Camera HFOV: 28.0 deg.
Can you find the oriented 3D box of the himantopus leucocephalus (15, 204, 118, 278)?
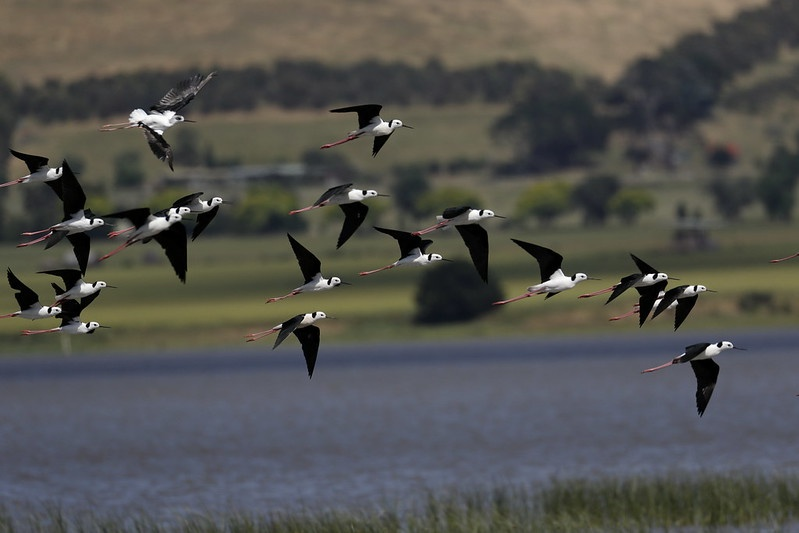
[{"bbox_3d":[-9.053,-1.016,43.111,2.710,0.502,2.855,-8,-9,-39],"label":"himantopus leucocephalus"}]

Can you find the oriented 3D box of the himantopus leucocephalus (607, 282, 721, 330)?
[{"bbox_3d":[7.307,1.043,43.737,2.328,0.740,1.334,7,2,-6],"label":"himantopus leucocephalus"}]

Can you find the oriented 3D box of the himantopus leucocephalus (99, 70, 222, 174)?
[{"bbox_3d":[-6.347,-3.887,43.560,1.833,2.459,2.207,2,14,23],"label":"himantopus leucocephalus"}]

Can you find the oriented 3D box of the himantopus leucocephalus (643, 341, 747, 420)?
[{"bbox_3d":[8.148,3.256,43.655,2.568,0.962,2.750,8,26,-2],"label":"himantopus leucocephalus"}]

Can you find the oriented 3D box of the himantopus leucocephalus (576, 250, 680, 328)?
[{"bbox_3d":[6.126,0.523,43.671,2.891,0.594,2.663,-9,35,-4],"label":"himantopus leucocephalus"}]

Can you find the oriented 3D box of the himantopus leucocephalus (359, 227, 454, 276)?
[{"bbox_3d":[0.025,-0.194,44.343,2.448,2.382,0.674,-10,52,6],"label":"himantopus leucocephalus"}]

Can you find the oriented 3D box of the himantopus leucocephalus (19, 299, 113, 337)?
[{"bbox_3d":[-9.190,1.512,43.982,2.191,0.788,2.071,1,11,-29],"label":"himantopus leucocephalus"}]

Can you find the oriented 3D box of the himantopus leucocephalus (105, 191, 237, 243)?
[{"bbox_3d":[-5.966,-1.282,43.786,2.081,0.388,1.776,-3,31,-15],"label":"himantopus leucocephalus"}]

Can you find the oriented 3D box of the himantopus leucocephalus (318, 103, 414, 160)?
[{"bbox_3d":[-0.892,-3.796,44.176,2.536,0.550,2.565,-7,-31,26],"label":"himantopus leucocephalus"}]

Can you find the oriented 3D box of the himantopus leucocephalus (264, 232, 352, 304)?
[{"bbox_3d":[-2.473,0.138,43.635,2.146,0.589,2.404,-12,-33,19],"label":"himantopus leucocephalus"}]

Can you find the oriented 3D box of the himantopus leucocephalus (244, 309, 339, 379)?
[{"bbox_3d":[-2.704,2.164,43.743,1.444,1.776,1.982,-4,12,-3],"label":"himantopus leucocephalus"}]

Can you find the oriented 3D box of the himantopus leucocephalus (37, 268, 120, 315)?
[{"bbox_3d":[-8.765,0.690,43.636,1.703,0.551,1.854,-16,51,-38],"label":"himantopus leucocephalus"}]

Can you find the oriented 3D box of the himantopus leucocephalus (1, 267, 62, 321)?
[{"bbox_3d":[-11.468,0.908,50.553,2.183,0.536,2.508,0,-28,16],"label":"himantopus leucocephalus"}]
